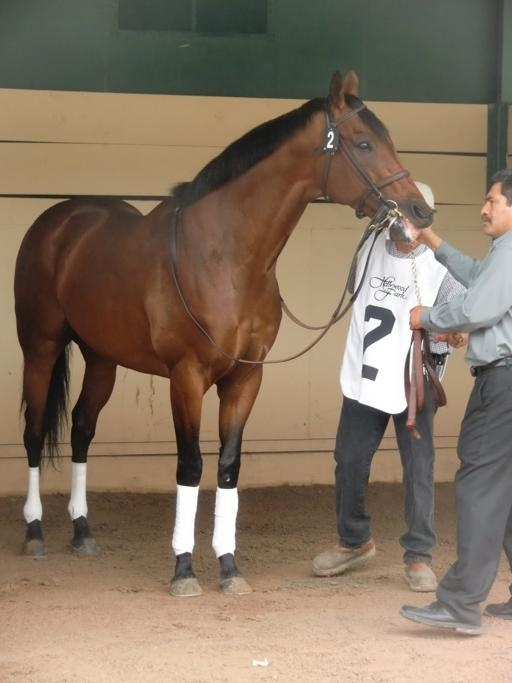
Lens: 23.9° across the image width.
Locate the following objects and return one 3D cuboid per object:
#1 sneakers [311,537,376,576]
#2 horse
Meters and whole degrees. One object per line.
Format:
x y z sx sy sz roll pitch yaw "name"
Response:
0.359 0.917 5.178 0.319 0.125 0.112 -16 13 -22 "sneakers"
-0.304 -0.037 5.044 2.076 2.056 0.578 4 7 42 "horse"
